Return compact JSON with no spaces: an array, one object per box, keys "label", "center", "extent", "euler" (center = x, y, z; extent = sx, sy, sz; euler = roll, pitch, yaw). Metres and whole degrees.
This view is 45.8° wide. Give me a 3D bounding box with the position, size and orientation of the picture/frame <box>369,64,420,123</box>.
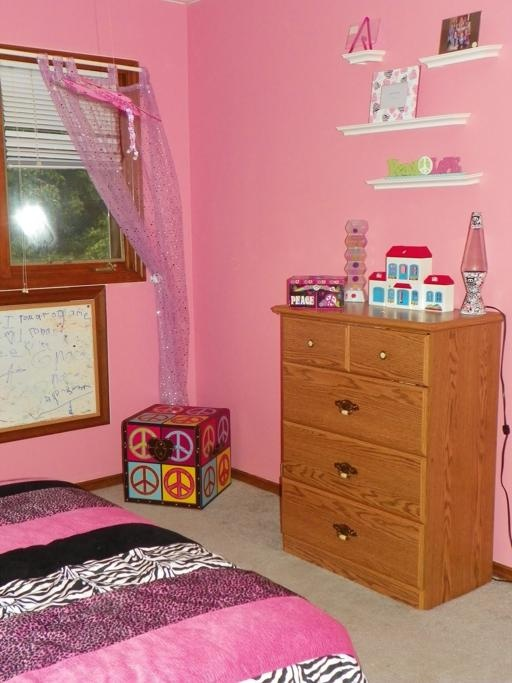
[{"label":"picture/frame","center":[0.583,-1.029,2.524],"extent":[0.033,0.276,0.311],"euler":[-7,14,-37]}]
